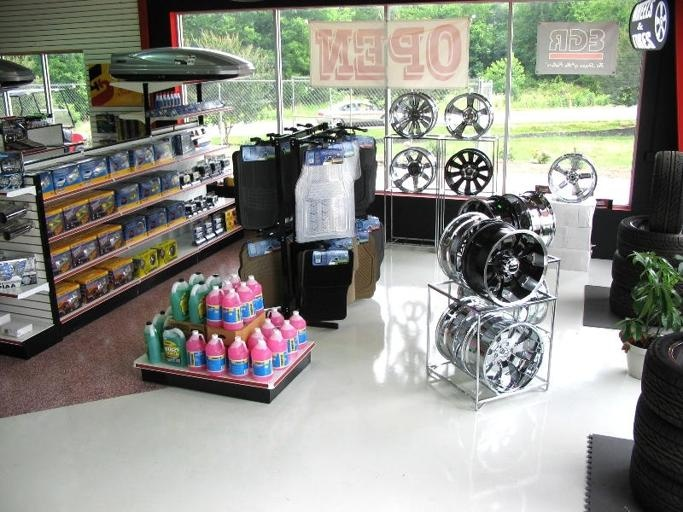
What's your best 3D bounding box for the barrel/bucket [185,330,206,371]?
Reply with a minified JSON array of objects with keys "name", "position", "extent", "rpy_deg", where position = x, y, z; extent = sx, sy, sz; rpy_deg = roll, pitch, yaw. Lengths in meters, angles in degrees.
[{"name":"barrel/bucket","position":[-1.238,0.768,4.237],"extent":[0.170,0.363,0.140],"rpy_deg":[-6,20,-14]}]
